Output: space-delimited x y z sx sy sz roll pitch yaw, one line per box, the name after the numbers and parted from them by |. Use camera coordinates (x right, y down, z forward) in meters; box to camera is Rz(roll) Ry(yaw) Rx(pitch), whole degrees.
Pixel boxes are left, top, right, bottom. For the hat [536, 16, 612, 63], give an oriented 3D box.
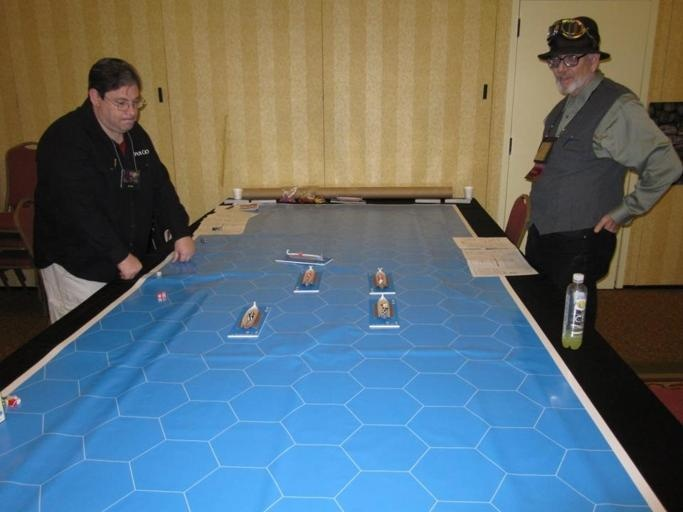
1.299 -1.157 2.333 0.304 0.187 0.313 12 22 43 | hat

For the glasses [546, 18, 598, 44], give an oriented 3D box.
1.277 -1.212 2.286 0.248 0.131 0.192 -6 22 -10 | glasses

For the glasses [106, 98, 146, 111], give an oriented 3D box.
-1.024 -0.723 2.050 0.075 0.055 0.182 6 23 18 | glasses
